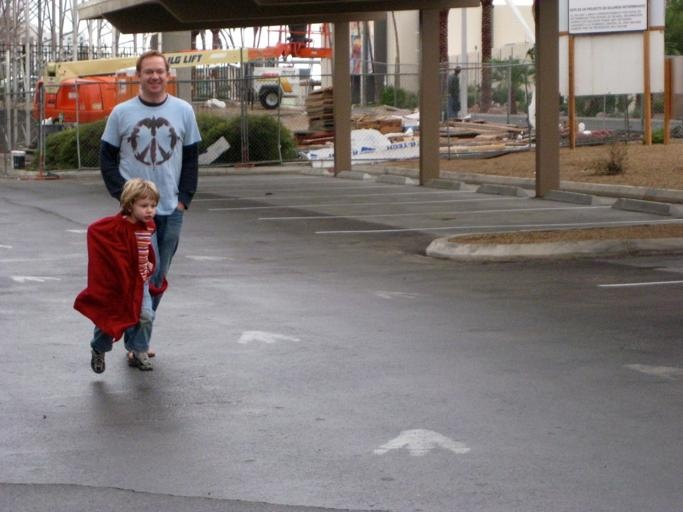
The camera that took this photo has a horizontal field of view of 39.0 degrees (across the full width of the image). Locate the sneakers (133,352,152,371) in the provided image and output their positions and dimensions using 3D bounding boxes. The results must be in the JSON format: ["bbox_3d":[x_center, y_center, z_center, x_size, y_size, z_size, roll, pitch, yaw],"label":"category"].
[{"bbox_3d":[-1.536,0.810,7.447,0.080,0.113,0.234,-6,3,-37],"label":"sneakers"}]

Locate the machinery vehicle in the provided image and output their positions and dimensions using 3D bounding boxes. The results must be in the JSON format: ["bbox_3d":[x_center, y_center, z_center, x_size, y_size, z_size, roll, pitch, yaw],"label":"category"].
[{"bbox_3d":[-5.721,-7.052,37.942,11.426,4.440,1.738,-6,-14,0],"label":"machinery vehicle"}]

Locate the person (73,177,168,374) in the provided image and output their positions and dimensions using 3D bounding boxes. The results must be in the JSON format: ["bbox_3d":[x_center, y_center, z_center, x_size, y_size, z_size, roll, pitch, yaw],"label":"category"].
[{"bbox_3d":[-1.687,0.153,7.294,0.660,1.475,0.451,-3,10,-12],"label":"person"}]

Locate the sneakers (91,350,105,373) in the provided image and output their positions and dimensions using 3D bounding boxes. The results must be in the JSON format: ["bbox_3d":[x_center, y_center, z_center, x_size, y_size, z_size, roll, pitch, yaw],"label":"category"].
[{"bbox_3d":[-1.843,0.801,7.291,0.074,0.085,0.214,-2,10,-24],"label":"sneakers"}]
